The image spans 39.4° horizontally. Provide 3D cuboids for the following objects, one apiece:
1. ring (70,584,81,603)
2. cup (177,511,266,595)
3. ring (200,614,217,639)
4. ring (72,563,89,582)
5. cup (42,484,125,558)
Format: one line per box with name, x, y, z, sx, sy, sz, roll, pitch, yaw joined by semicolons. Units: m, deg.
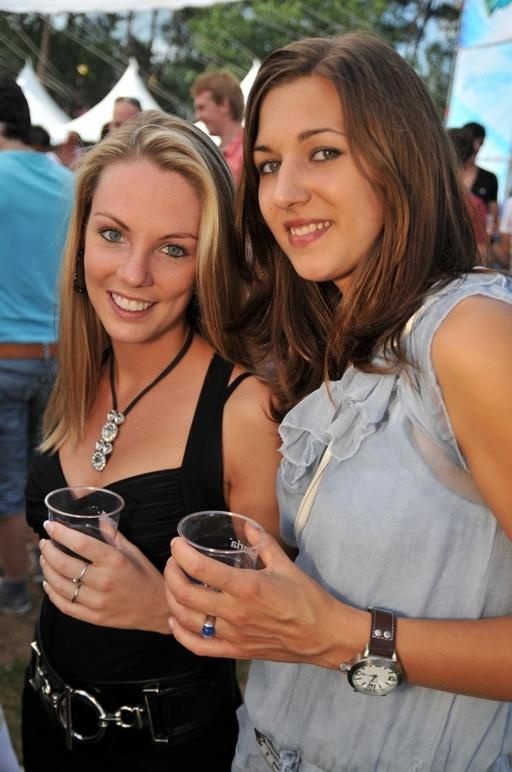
ring;-0.410;0.473;1.629;0.009;0.033;0.036;17;19;0
cup;-0.071;0.322;1.422;0.139;0.095;0.133;5;22;-2
ring;-0.089;0.463;1.373;0.028;0.068;0.024;7;23;-2
ring;-0.391;0.424;1.620;0.014;0.038;0.032;36;-4;-6
cup;-0.409;0.304;1.698;0.163;0.124;0.207;-2;24;-22
